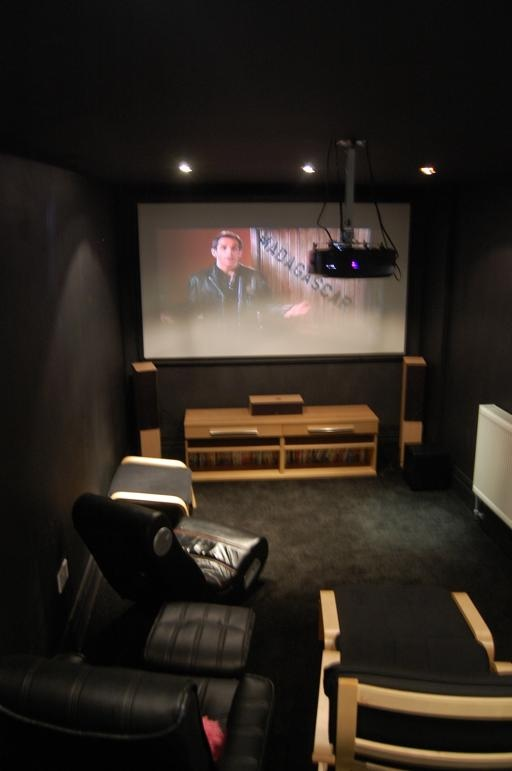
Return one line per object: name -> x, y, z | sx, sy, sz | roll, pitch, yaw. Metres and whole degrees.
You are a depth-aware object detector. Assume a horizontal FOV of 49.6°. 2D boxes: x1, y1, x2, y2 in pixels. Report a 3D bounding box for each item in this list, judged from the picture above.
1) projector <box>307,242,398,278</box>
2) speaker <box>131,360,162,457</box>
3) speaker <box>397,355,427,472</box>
projector -> 0.555, -0.741, 3.436 | 0.318, 0.162, 0.341 | -1, 9, -9
speaker -> -0.937, 0.223, 4.733 | 0.201, 0.818, 0.331 | -3, 10, -12
speaker -> 1.350, 0.264, 4.816 | 0.195, 0.959, 0.391 | 2, 10, 16
